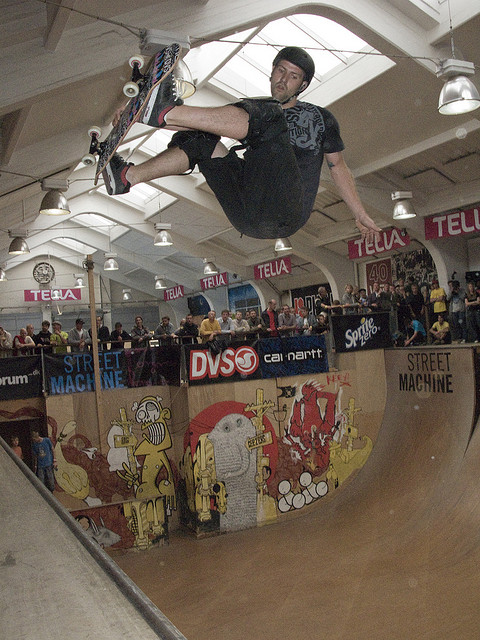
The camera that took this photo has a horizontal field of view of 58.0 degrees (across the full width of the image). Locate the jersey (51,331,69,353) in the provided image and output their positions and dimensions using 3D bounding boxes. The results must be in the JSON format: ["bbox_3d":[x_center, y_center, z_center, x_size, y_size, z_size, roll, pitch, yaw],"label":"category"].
[{"bbox_3d":[-4.647,0.607,11.627,0.355,0.600,0.313,-5,25,-4],"label":"jersey"}]

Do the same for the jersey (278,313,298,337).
[{"bbox_3d":[1.166,0.148,13.100,0.466,0.716,0.197,1,-7,-10],"label":"jersey"}]

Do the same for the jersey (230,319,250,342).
[{"bbox_3d":[-0.168,0.332,12.312,0.503,0.462,1.484,4,7,-3],"label":"jersey"}]

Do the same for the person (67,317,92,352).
[{"bbox_3d":[-5.190,0.448,14.631,0.726,1.891,0.651,0,-17,-25],"label":"person"}]

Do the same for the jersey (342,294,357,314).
[{"bbox_3d":[3.017,-0.466,13.527,0.423,0.847,0.688,-2,-2,2],"label":"jersey"}]

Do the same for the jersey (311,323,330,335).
[{"bbox_3d":[2.046,0.279,12.927,0.468,0.282,0.310,-4,-19,-6],"label":"jersey"}]

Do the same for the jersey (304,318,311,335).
[{"bbox_3d":[1.716,0.190,13.029,0.186,0.567,0.383,2,-12,7],"label":"jersey"}]

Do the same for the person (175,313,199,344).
[{"bbox_3d":[-1.586,0.289,12.804,0.622,0.888,0.877,5,-12,-9],"label":"person"}]

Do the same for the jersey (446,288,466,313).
[{"bbox_3d":[5.769,-0.555,12.805,0.518,0.731,0.346,-8,-16,43],"label":"jersey"}]

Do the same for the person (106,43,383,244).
[{"bbox_3d":[0.074,-0.990,2.374,0.700,0.972,1.356,-7,-16,42],"label":"person"}]

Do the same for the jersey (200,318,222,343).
[{"bbox_3d":[-0.881,0.197,11.895,0.543,0.523,0.465,7,-12,-18],"label":"jersey"}]

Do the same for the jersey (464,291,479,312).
[{"bbox_3d":[5.947,-0.490,12.203,0.313,0.464,0.474,-7,-30,3],"label":"jersey"}]

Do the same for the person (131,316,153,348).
[{"bbox_3d":[-2.886,0.372,12.864,0.528,1.071,1.887,6,-12,-14],"label":"person"}]

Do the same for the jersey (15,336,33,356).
[{"bbox_3d":[-5.287,0.649,11.218,0.490,0.534,0.183,1,2,-6],"label":"jersey"}]

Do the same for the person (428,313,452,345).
[{"bbox_3d":[5.317,0.286,12.885,0.602,0.894,0.402,-8,-16,44],"label":"person"}]

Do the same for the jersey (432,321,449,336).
[{"bbox_3d":[5.339,0.241,12.855,0.194,0.434,0.586,7,-12,-18],"label":"jersey"}]
